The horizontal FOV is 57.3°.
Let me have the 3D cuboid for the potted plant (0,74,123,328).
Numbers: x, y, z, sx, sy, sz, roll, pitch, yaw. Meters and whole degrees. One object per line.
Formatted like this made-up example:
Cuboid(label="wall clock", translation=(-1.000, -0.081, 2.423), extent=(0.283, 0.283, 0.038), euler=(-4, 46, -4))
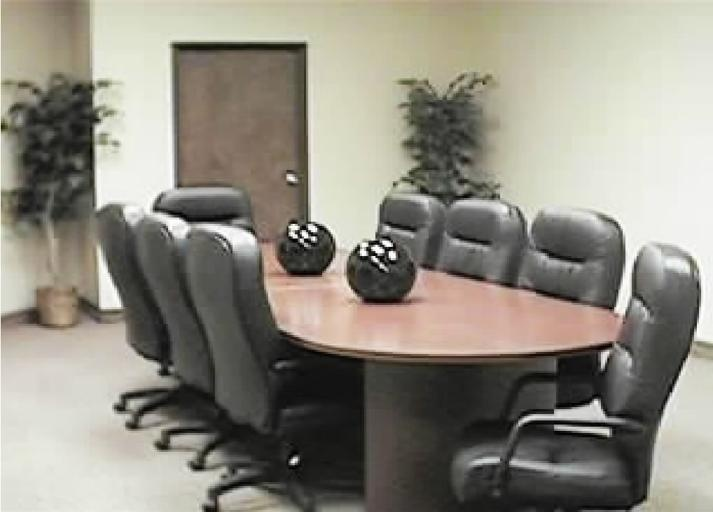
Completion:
Cuboid(label="potted plant", translation=(-0.457, -0.086, 0.984), extent=(0.210, 0.362, 0.148), euler=(9, 22, 24))
